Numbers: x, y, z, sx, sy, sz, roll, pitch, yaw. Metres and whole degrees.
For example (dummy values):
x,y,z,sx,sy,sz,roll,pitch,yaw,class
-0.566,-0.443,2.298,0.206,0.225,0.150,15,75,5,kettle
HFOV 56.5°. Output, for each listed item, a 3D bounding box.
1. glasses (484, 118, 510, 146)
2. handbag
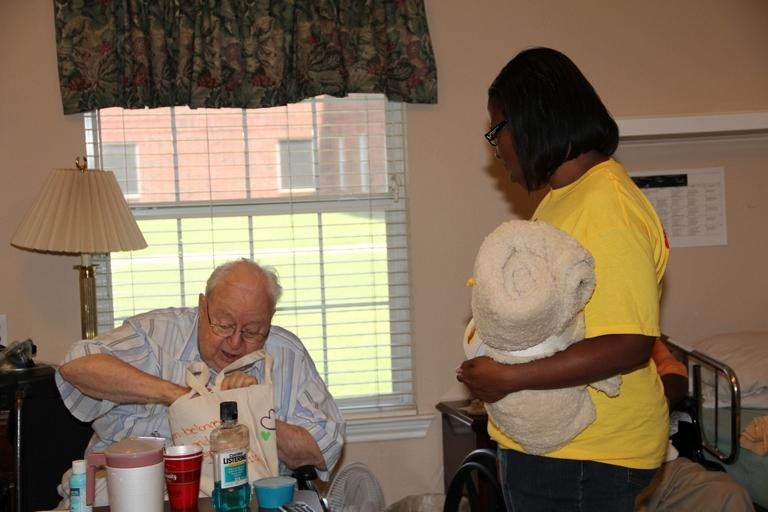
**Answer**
x,y,z,sx,sy,sz,roll,pitch,yaw,class
0.421,-0.462,2.670,0.080,0.024,0.077,-39,-5,1,glasses
-0.612,0.663,2.730,0.535,0.670,0.285,-5,-15,-10,handbag
